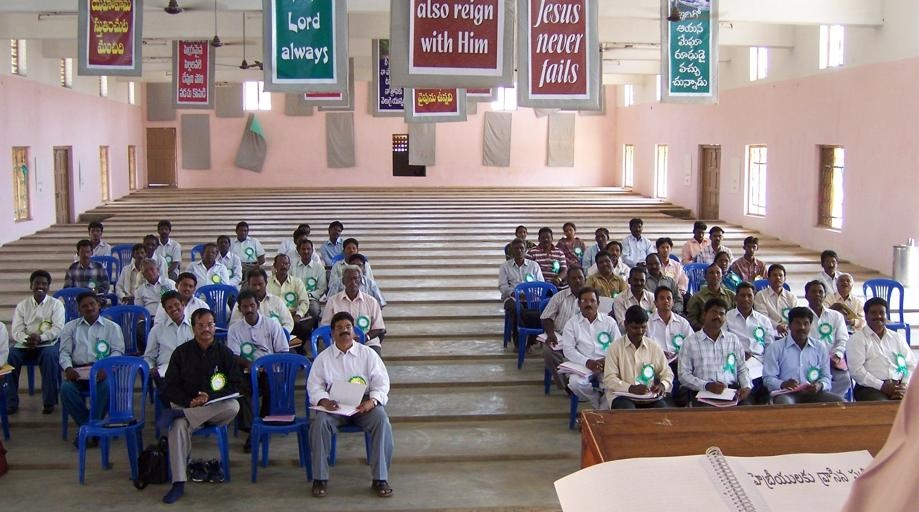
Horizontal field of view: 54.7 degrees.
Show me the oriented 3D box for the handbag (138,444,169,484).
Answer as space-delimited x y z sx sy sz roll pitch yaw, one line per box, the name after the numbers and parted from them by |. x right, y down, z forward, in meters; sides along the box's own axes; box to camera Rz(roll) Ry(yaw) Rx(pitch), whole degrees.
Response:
-4.476 3.058 13.088 0.416 0.555 0.592 2 12 -2 | handbag

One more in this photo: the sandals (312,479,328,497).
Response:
-2.022 3.370 12.908 0.263 0.235 0.165 -5 9 -28 | sandals

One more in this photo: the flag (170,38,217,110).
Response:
-6.318 -4.338 21.025 0.972 1.628 0.627 -1 8 -2 | flag

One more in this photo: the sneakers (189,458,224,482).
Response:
-3.742 3.177 13.098 0.460 0.156 0.293 1 8 3 | sneakers

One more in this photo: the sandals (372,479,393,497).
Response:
-1.124 3.390 12.883 0.165 0.137 0.335 1 -3 -27 | sandals
